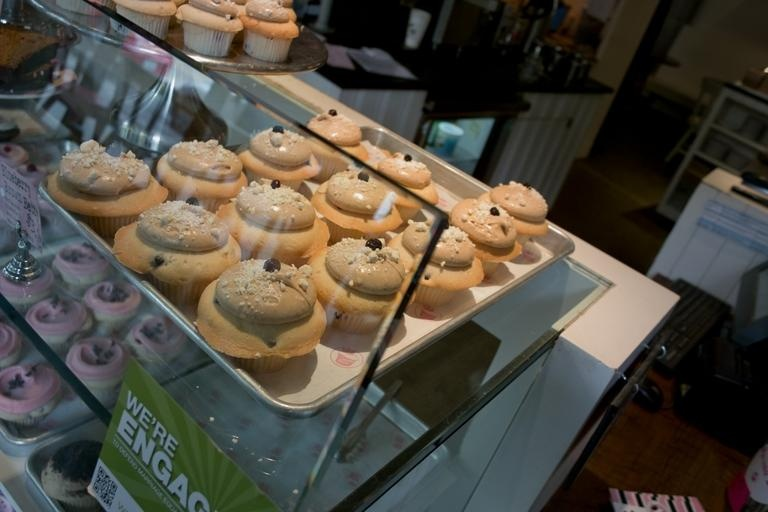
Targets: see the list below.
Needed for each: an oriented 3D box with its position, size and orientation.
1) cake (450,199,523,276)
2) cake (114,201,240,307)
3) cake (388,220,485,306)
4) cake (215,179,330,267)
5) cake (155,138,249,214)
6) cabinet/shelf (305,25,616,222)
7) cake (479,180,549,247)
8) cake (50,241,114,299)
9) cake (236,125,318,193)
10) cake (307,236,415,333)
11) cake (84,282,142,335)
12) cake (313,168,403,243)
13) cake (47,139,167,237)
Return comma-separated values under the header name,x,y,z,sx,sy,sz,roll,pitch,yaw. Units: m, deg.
name,x,y,z,sx,sy,sz,roll,pitch,yaw
cake,0.374,-0.102,1.954,0.246,0.181,0.260,27,29,1
cake,-0.564,0.042,1.482,0.297,0.179,0.273,28,48,10
cake,0.182,0.008,1.580,0.263,0.175,0.262,12,29,-11
cake,-0.289,-0.061,1.471,0.245,0.167,0.250,42,29,28
cake,-0.524,-0.247,1.501,0.222,0.157,0.220,15,29,-17
cabinet/shelf,0.507,-1.125,3.781,1.791,0.583,1.199,31,24,5
cake,0.540,-0.195,2.106,0.248,0.214,0.248,34,33,18
cake,-0.877,0.035,1.562,0.172,0.152,0.169,-14,45,-44
cake,-0.291,-0.276,1.471,0.178,0.125,0.172,-16,50,-41
cake,-0.077,0.060,1.413,0.241,0.198,0.242,26,31,3
cake,-0.761,0.133,1.492,0.160,0.130,0.157,-8,45,-33
cake,-0.068,-0.143,1.385,0.188,0.143,0.198,26,27,0
cake,-0.776,-0.183,1.488,0.284,0.187,0.278,9,31,-38
